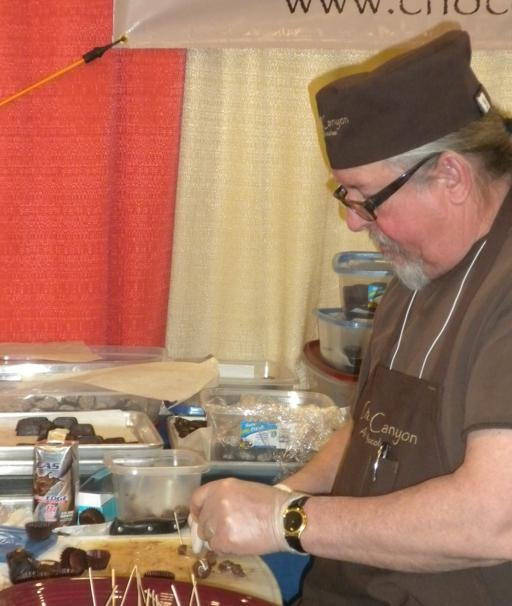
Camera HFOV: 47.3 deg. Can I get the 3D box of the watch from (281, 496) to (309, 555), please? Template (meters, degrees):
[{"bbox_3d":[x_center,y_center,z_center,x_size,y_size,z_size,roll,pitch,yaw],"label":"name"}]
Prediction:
[{"bbox_3d":[0.054,0.306,0.796,0.035,0.065,0.056,-1,12,4],"label":"watch"}]

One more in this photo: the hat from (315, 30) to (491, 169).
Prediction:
[{"bbox_3d":[0.209,-0.290,0.938,0.213,0.126,0.274,-27,17,-21],"label":"hat"}]

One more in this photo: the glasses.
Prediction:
[{"bbox_3d":[0.199,-0.175,0.874,0.108,0.028,0.099,-36,14,2],"label":"glasses"}]
